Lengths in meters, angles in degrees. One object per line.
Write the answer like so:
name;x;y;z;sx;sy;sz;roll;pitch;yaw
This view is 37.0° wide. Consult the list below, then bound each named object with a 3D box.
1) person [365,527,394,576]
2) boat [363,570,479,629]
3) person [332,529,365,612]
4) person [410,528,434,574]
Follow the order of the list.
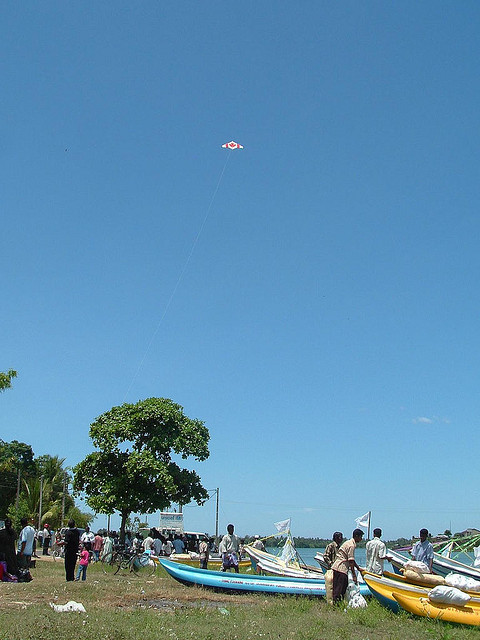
person;3.269;5.539;16.993;0.554;0.996;1.408;4;-18;12
boat;3.785;5.845;14.877;2.423;0.716;0.798;1;-25;36
person;2.274;5.342;15.287;0.619;1.700;1.654;4;-17;11
person;4.270;5.670;16.856;0.536;0.428;1.598;5;-62;13
